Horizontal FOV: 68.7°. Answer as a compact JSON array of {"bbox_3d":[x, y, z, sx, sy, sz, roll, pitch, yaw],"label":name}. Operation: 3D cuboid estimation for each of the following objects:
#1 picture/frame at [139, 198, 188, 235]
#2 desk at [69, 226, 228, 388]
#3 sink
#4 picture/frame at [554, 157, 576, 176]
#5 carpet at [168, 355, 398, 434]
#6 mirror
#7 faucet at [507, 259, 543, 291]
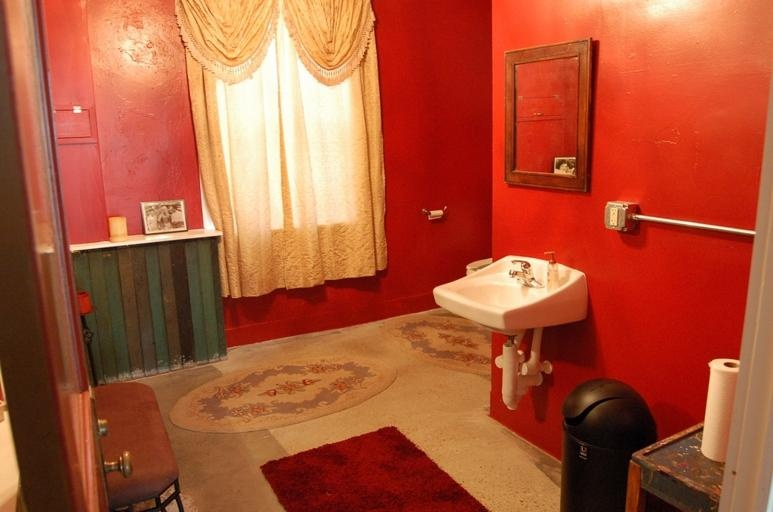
[{"bbox_3d":[-1.590,-0.273,3.990,0.239,0.197,0.031,-12,0,-25],"label":"picture/frame"},{"bbox_3d":[-1.571,0.345,3.974,1.004,0.896,0.387,-9,-6,-3],"label":"desk"},{"bbox_3d":[0.567,0.205,2.742,0.566,0.295,0.552,-12,15,-28],"label":"sink"},{"bbox_3d":[0.829,-0.414,2.635,0.014,0.085,0.139,-13,15,-26],"label":"picture/frame"},{"bbox_3d":[-0.651,0.860,3.674,1.421,0.077,0.885,-10,14,-22],"label":"carpet"},{"bbox_3d":[0.757,-0.644,2.708,0.551,0.650,0.043,-11,15,-31],"label":"mirror"},{"bbox_3d":[0.690,0.083,2.832,0.208,0.133,0.087,15,37,35],"label":"faucet"}]
